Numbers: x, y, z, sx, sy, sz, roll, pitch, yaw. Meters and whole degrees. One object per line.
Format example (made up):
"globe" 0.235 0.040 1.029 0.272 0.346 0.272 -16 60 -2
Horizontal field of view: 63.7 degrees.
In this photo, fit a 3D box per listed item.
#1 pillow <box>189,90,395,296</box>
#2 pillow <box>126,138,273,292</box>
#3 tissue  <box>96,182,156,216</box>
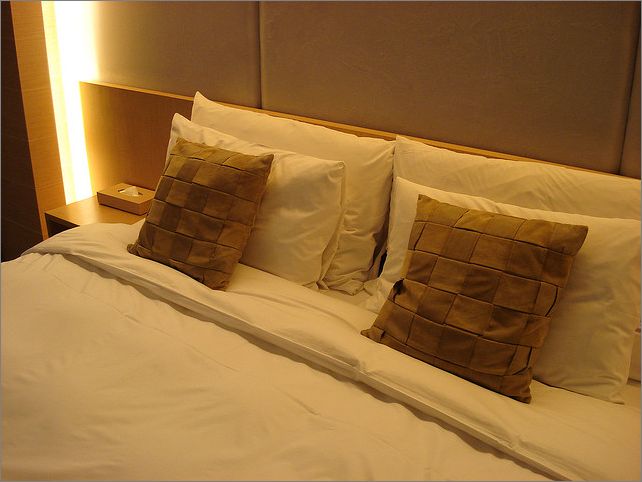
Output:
"pillow" -0.529 -0.152 2.299 0.306 0.570 0.860 30 -6 -41
"pillow" -0.420 -0.116 2.060 0.468 0.550 0.399 19 30 31
"tissue " -1.059 -0.238 2.841 0.391 0.139 0.205 15 33 22
